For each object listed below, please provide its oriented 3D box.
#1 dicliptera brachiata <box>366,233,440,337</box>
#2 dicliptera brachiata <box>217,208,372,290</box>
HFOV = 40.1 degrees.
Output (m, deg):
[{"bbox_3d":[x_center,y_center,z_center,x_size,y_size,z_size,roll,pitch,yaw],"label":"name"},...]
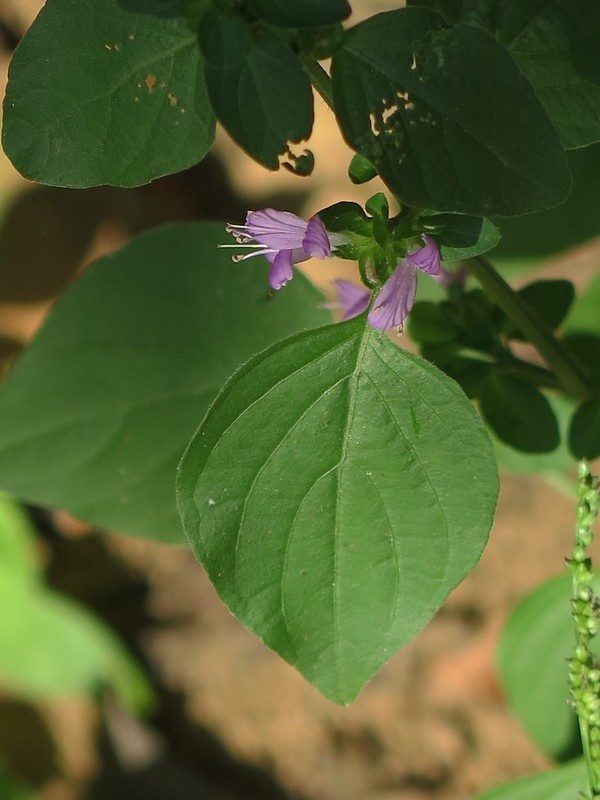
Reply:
[{"bbox_3d":[0.069,-0.075,0.536,0.040,0.063,0.075,8,19,30],"label":"dicliptera brachiata"},{"bbox_3d":[-0.009,-0.105,0.545,0.073,0.026,0.074,-2,-11,-43],"label":"dicliptera brachiata"}]
